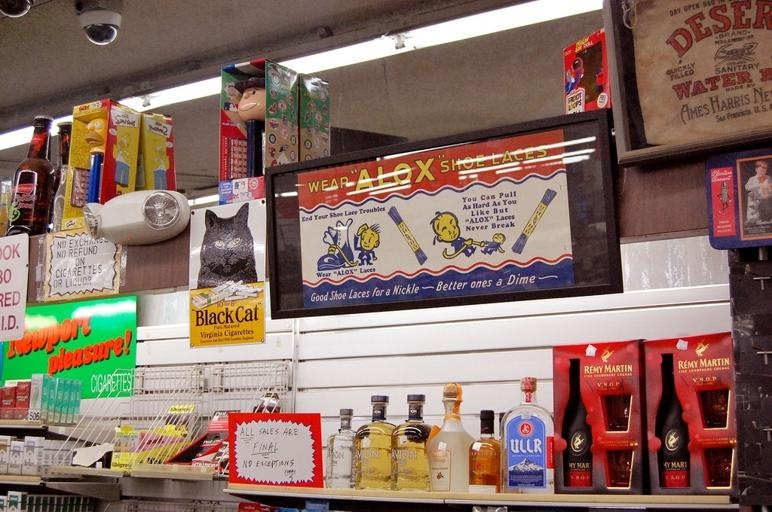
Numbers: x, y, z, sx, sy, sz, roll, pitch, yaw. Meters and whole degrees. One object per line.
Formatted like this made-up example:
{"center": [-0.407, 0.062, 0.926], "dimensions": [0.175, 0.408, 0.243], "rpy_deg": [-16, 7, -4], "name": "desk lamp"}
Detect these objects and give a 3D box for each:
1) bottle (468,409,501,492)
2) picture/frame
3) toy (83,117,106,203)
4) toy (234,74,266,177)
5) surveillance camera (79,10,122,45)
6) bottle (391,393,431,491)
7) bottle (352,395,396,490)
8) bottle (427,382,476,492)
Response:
{"center": [0.410, 0.782, 2.974], "dimensions": [0.120, 0.317, 0.098], "rpy_deg": [4, -15, -24], "name": "bottle"}
{"center": [0.185, -0.136, 3.242], "dimensions": [1.635, 0.715, 0.057], "rpy_deg": [-5, -5, 30], "name": "picture/frame"}
{"center": [-1.557, -0.512, 3.928], "dimensions": [0.069, 0.498, 0.170], "rpy_deg": [11, -18, -41], "name": "toy"}
{"center": [-0.664, -0.662, 3.600], "dimensions": [0.140, 0.529, 0.221], "rpy_deg": [1, -14, -12], "name": "toy"}
{"center": [-2.084, -1.666, 5.484], "dimensions": [0.324, 0.234, 0.320], "rpy_deg": [1, -3, -5], "name": "surveillance camera"}
{"center": [0.105, 0.771, 3.077], "dimensions": [0.146, 0.383, 0.077], "rpy_deg": [-2, -13, 1], "name": "bottle"}
{"center": [-0.047, 0.783, 3.122], "dimensions": [0.177, 0.378, 0.087], "rpy_deg": [-3, -13, 6], "name": "bottle"}
{"center": [0.272, 0.743, 3.052], "dimensions": [0.188, 0.429, 0.154], "rpy_deg": [-2, -13, 4], "name": "bottle"}
